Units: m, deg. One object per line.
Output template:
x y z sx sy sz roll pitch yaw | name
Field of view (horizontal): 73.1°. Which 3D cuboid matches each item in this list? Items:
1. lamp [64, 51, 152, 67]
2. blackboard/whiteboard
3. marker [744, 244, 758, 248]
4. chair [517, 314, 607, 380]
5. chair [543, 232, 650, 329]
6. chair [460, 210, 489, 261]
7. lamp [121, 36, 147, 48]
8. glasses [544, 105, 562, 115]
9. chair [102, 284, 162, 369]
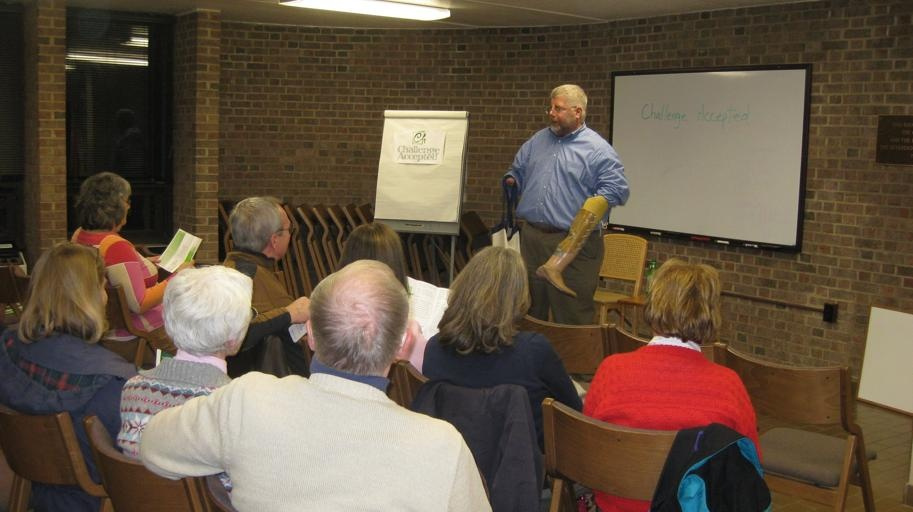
-4.314 -2.452 7.665 0.875 0.167 0.062 1 9 -20 | lamp
2.881 -1.059 6.856 2.178 1.735 0.089 6 8 41 | blackboard/whiteboard
3.239 -0.104 6.798 0.146 0.048 0.049 9 10 28 | marker
0.723 0.615 4.155 0.460 0.618 0.377 -9 11 -36 | chair
1.781 0.357 6.850 0.680 0.983 0.708 19 28 41 | chair
0.191 -0.230 7.275 0.270 0.468 0.484 -7 54 -16 | chair
-4.020 -2.688 7.773 0.192 0.058 0.135 -1 5 -40 | lamp
0.870 -1.262 5.331 0.094 0.046 0.121 -3 -7 34 | glasses
-2.436 0.525 4.930 0.477 0.617 0.385 -14 16 -29 | chair
